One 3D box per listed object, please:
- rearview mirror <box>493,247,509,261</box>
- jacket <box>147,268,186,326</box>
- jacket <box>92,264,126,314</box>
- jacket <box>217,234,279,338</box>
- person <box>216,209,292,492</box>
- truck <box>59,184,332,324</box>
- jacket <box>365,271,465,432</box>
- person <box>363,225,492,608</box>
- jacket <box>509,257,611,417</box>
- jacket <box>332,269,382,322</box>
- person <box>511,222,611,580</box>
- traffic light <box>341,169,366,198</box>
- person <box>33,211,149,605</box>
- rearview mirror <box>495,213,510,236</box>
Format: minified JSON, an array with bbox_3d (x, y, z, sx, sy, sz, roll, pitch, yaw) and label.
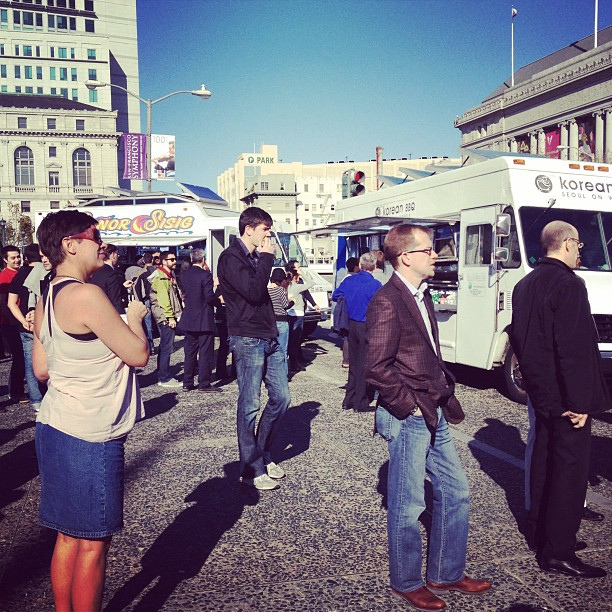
[{"bbox_3d":[2.387,-0.643,7.731,0.171,0.161,0.169,1,4,13],"label":"rearview mirror"},{"bbox_3d":[-2.078,-0.150,9.488,0.575,0.938,0.968,-7,6,-6],"label":"jacket"},{"bbox_3d":[-2.283,-0.208,7.403,0.324,0.516,0.452,-2,4,-32],"label":"jacket"},{"bbox_3d":[-0.443,-0.177,5.032,0.443,0.760,0.586,2,15,1],"label":"jacket"},{"bbox_3d":[-0.400,0.328,4.914,0.540,2.153,0.368,-1,3,-10],"label":"person"},{"bbox_3d":[-3.581,-1.568,16.587,8.163,4.173,3.506,-1,4,4],"label":"truck"},{"bbox_3d":[0.566,0.239,3.379,0.520,0.829,0.326,-3,5,-44],"label":"jacket"},{"bbox_3d":[0.636,0.564,3.407,0.620,1.994,0.391,0,3,3],"label":"person"},{"bbox_3d":[1.504,0.178,3.803,0.303,0.943,0.601,-1,4,-18],"label":"jacket"},{"bbox_3d":[0.661,-0.158,7.823,0.673,0.659,0.343,9,18,20],"label":"jacket"},{"bbox_3d":[1.520,0.504,3.812,0.417,2.023,0.622,0,3,0],"label":"person"},{"bbox_3d":[0.992,-2.560,13.141,0.453,0.689,1.125,0,4,4],"label":"traffic light"},{"bbox_3d":[-0.963,0.425,2.863,0.467,1.713,0.473,-1,4,-24],"label":"person"},{"bbox_3d":[2.382,-0.987,7.654,0.169,0.254,0.226,1,4,17],"label":"rearview mirror"}]
